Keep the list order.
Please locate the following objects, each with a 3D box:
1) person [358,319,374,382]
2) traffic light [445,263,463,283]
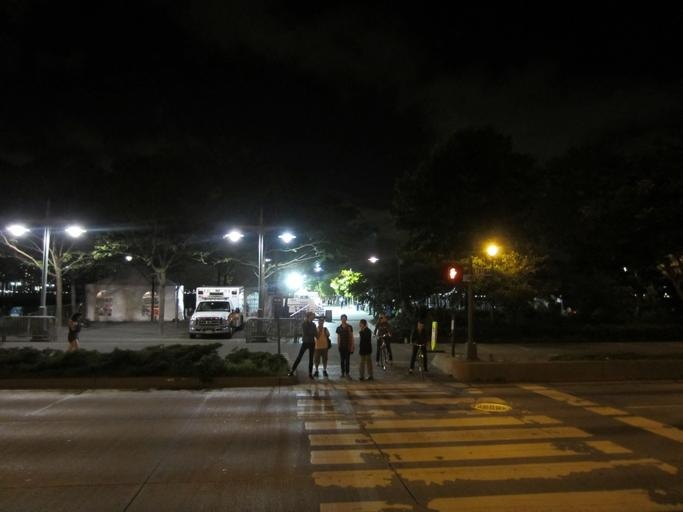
[{"bbox_3d":[0.769,3.006,18.728,0.453,1.989,1.467,-3,-11,2],"label":"person"},{"bbox_3d":[3.680,0.560,18.886,0.540,0.700,0.574,0,5,-3],"label":"traffic light"}]
